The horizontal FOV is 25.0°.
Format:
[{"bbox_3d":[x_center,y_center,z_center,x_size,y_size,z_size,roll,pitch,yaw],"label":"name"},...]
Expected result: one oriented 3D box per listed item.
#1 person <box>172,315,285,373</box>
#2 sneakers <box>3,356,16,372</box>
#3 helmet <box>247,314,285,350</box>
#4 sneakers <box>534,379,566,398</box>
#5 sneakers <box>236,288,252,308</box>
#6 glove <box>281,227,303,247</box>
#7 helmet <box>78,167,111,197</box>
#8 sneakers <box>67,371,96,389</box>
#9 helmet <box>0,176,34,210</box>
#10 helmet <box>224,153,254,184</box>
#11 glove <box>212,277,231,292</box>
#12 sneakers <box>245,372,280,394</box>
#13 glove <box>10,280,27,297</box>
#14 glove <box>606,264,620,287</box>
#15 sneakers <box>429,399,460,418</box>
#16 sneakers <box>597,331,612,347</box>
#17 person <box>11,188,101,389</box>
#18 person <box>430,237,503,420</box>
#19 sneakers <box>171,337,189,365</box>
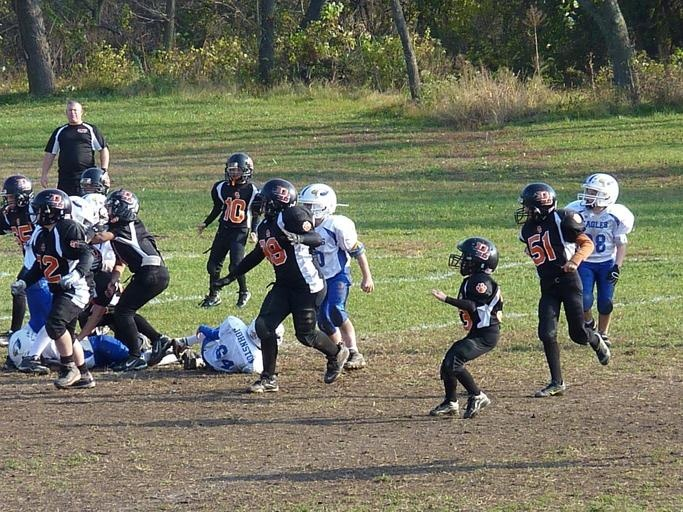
[{"bbox_3d":[-2.029,1.552,27.861,1.640,0.687,0.963,3,1,25],"label":"person"},{"bbox_3d":[-5.961,1.949,27.893,0.213,0.283,0.279,-6,-36,-10],"label":"sneakers"},{"bbox_3d":[-1.329,1.358,27.672,0.638,0.581,0.484,7,4,-22],"label":"helmet"},{"bbox_3d":[3.608,2.290,26.728,0.599,0.287,0.224,-7,43,-2],"label":"sneakers"},{"bbox_3d":[-1.922,0.792,30.551,0.147,0.197,0.441,-1,16,13],"label":"sneakers"},{"bbox_3d":[-0.845,-0.350,26.695,0.377,0.163,0.127,28,-18,-3],"label":"glove"},{"bbox_3d":[-4.655,-1.426,29.204,0.429,0.468,0.569,0,-1,29],"label":"helmet"},{"bbox_3d":[-4.512,2.184,27.165,0.572,0.269,0.196,1,5,-13],"label":"sneakers"},{"bbox_3d":[-6.042,-1.241,28.788,0.596,0.559,0.479,-2,9,-14],"label":"helmet"},{"bbox_3d":[-1.996,-1.770,30.673,0.477,0.550,0.628,1,8,24],"label":"helmet"},{"bbox_3d":[-2.121,0.496,27.090,0.341,0.147,0.202,-19,0,36],"label":"glove"},{"bbox_3d":[-1.385,2.218,27.032,0.609,0.298,0.247,-1,13,-16],"label":"sneakers"},{"bbox_3d":[-5.786,0.557,27.774,0.276,0.283,0.519,-3,8,-13],"label":"glove"},{"bbox_3d":[4.959,0.326,28.064,0.199,0.353,0.111,14,10,2],"label":"glove"},{"bbox_3d":[1.794,2.579,26.350,0.580,0.285,0.213,0,2,-8],"label":"sneakers"},{"bbox_3d":[4.715,1.476,27.720,0.098,0.288,0.122,-17,-31,-18],"label":"sneakers"},{"bbox_3d":[-4.897,0.567,27.125,1.168,3.502,0.762,-3,6,1],"label":"person"},{"bbox_3d":[2.203,1.193,26.349,0.729,2.993,1.178,2,7,38],"label":"person"},{"bbox_3d":[-2.909,1.661,27.978,0.231,0.556,0.205,-9,-8,3],"label":"sneakers"}]
